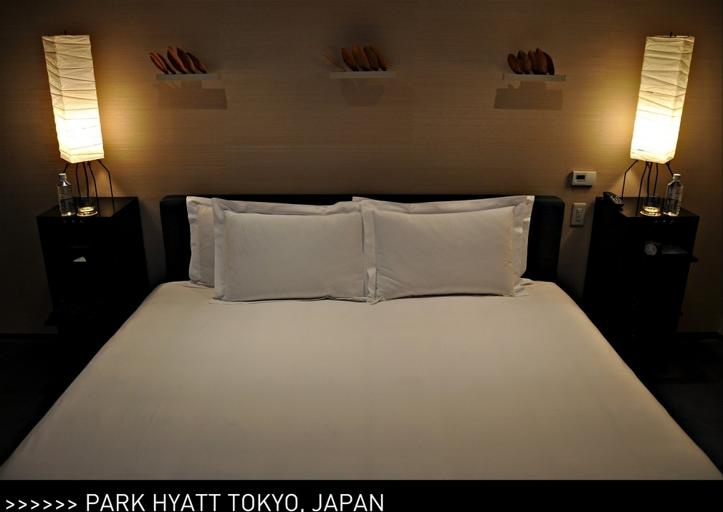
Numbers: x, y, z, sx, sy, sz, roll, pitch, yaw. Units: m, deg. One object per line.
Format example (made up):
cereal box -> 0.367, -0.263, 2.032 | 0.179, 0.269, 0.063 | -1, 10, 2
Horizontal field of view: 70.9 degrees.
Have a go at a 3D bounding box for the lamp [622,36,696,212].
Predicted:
lamp -> 1.649, -0.713, 2.835 | 0.329, 0.989, 0.502 | -3, -7, 17

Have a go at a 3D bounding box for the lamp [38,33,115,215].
lamp -> -1.558, -0.687, 2.830 | 0.348, 0.978, 0.483 | 2, -7, -27

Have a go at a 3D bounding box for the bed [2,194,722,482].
bed -> -0.017, 0.534, 2.231 | 2.517, 0.737, 0.812 | -2, -7, 0
